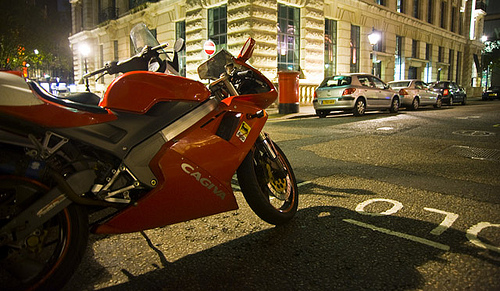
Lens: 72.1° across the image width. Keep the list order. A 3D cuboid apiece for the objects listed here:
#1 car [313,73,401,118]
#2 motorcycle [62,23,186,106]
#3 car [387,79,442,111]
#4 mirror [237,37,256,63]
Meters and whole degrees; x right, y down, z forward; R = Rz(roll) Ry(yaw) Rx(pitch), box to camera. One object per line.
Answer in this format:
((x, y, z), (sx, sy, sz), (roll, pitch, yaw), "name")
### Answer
((5.286, -2.633, 17.168), (3.756, 1.602, 2.251), (-11, 12, -32), "car")
((-1.456, -1.026, 4.257), (1.418, 0.856, 0.924), (-25, 18, -12), "motorcycle")
((10.058, -3.219, 21.183), (4.213, 1.317, 1.820), (-10, 12, -37), "car")
((-0.020, -1.140, 4.068), (0.118, 0.439, 0.111), (34, -31, -23), "mirror")
